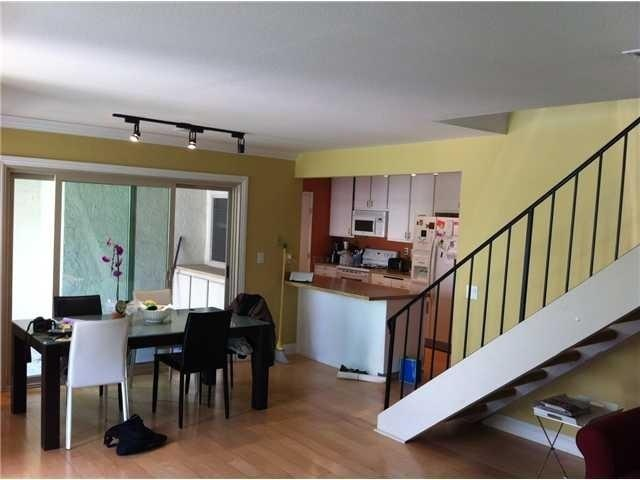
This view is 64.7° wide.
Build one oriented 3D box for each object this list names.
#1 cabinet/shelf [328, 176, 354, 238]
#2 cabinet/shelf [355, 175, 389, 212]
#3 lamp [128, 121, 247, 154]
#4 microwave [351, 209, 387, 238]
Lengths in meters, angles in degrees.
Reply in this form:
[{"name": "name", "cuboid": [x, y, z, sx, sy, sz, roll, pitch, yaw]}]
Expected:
[{"name": "cabinet/shelf", "cuboid": [0.421, -0.627, 9.491, 0.168, 1.084, 0.627, -1, 5, -31]}, {"name": "cabinet/shelf", "cuboid": [0.937, -0.814, 8.842, 0.245, 0.553, 0.640, 0, 1, -37]}, {"name": "lamp", "cuboid": [-1.529, -1.102, 5.421, 1.388, 0.289, 0.864, 0, 5, -30]}, {"name": "microwave", "cuboid": [0.883, -0.303, 8.891, 0.449, 0.506, 0.709, 1, 1, -34]}]
